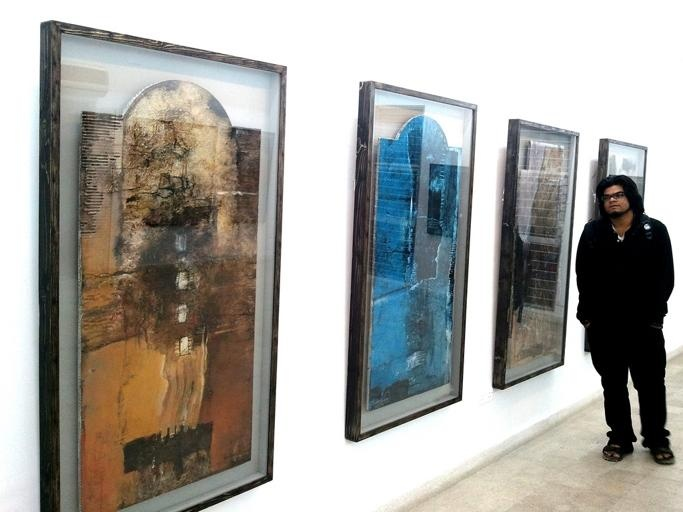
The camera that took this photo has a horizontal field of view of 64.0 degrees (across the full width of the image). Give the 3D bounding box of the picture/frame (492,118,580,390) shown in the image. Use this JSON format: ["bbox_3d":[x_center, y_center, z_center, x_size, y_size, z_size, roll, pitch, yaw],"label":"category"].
[{"bbox_3d":[1.533,-0.022,4.289,1.008,1.973,0.152,-4,6,-41],"label":"picture/frame"}]

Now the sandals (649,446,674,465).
[{"bbox_3d":[2.456,1.524,4.194,0.174,0.106,0.146,5,7,41],"label":"sandals"}]

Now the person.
[{"bbox_3d":[2.203,0.481,4.231,0.752,2.185,0.317,2,5,25],"label":"person"}]

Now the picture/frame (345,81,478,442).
[{"bbox_3d":[0.434,0.031,3.248,1.016,1.944,0.167,-4,6,-44],"label":"picture/frame"}]
